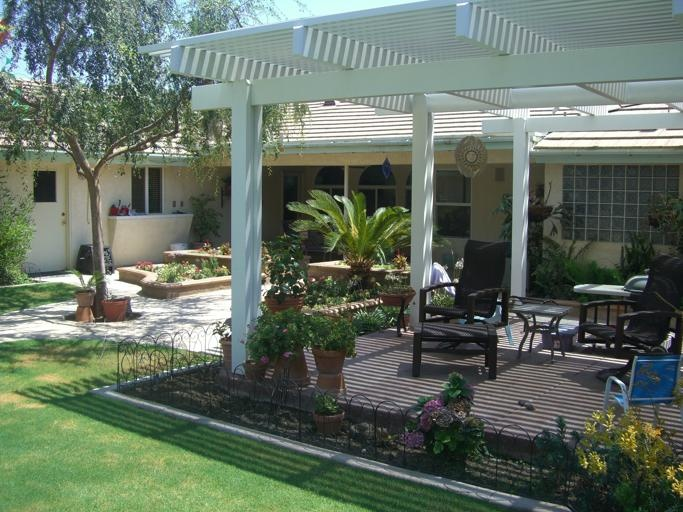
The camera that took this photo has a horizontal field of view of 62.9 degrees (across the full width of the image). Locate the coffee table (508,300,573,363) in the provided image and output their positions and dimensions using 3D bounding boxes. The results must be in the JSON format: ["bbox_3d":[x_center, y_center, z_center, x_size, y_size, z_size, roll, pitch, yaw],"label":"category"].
[{"bbox_3d":[2.894,0.949,8.286,0.949,0.993,1.009,2,2,28],"label":"coffee table"}]

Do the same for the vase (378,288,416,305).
[{"bbox_3d":[1.070,0.774,10.482,0.350,0.386,0.781,-1,4,-34],"label":"vase"}]

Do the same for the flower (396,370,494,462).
[{"bbox_3d":[1.044,1.583,5.464,0.853,0.799,0.444,2,4,7],"label":"flower"}]

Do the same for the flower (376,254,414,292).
[{"bbox_3d":[1.263,0.395,12.718,0.703,0.872,0.753,0,-2,28],"label":"flower"}]

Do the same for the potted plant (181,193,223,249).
[{"bbox_3d":[-4.782,-1.284,19.684,1.438,2.524,1.552,-1,8,-2],"label":"potted plant"}]

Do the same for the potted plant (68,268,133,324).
[{"bbox_3d":[-4.868,0.835,11.229,1.056,1.009,0.864,1,1,11],"label":"potted plant"}]
